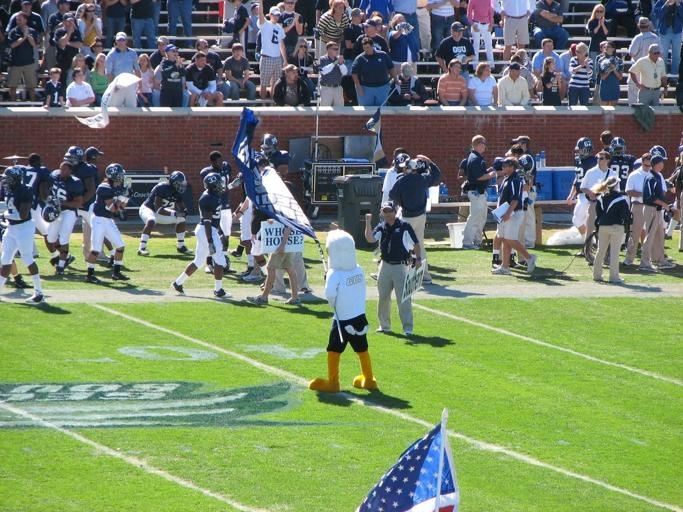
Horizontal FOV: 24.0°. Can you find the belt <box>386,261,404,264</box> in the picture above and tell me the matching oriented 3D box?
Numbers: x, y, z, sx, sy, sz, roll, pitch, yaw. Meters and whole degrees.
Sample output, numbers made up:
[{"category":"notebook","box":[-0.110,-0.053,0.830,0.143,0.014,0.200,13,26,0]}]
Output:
[{"category":"belt","box":[1.023,0.132,30.302,0.287,0.073,0.062,2,4,-8]}]

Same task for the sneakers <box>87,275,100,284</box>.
[{"category":"sneakers","box":[-5.075,0.497,33.326,0.364,0.156,0.127,3,6,7]}]

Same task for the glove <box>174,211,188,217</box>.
[{"category":"glove","box":[-3.515,-0.900,35.125,0.257,0.126,0.202,0,5,-31]}]

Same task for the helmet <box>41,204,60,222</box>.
[{"category":"helmet","box":[-6.033,-0.875,33.541,0.249,0.374,0.363,17,-2,1]}]

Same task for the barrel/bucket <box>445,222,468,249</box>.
[{"category":"barrel/bucket","box":[2.681,-0.469,37.513,0.403,0.610,0.609,2,4,5]}]

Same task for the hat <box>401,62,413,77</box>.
[{"category":"hat","box":[1.685,-4.676,40.589,0.311,0.375,0.360,0,12,-3]}]

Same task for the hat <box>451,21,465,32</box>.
[{"category":"hat","box":[2.909,-5.778,40.791,0.276,0.231,0.385,-7,13,-22]}]

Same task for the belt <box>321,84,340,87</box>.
[{"category":"belt","box":[-0.276,-4.298,40.708,0.456,0.087,0.193,2,4,-2]}]

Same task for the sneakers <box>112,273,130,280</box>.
[{"category":"sneakers","box":[-4.567,0.443,33.371,0.371,0.170,0.142,2,13,-10]}]

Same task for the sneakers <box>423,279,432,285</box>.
[{"category":"sneakers","box":[1.799,0.559,33.894,0.077,0.097,0.217,0,-5,-14]}]

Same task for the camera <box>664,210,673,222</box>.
[{"category":"camera","box":[7.872,-0.947,39.008,0.282,0.356,0.385,1,0,4]}]

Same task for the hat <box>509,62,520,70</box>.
[{"category":"hat","box":[4.398,-4.834,40.941,0.248,0.196,0.467,2,4,3]}]

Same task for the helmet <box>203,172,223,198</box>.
[{"category":"helmet","box":[-2.549,-1.443,32.225,0.414,0.436,0.318,-9,16,-31]}]

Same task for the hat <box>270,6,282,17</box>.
[{"category":"hat","box":[-1.674,-6.151,40.553,0.239,0.192,0.350,-1,7,-15]}]

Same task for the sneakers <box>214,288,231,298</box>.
[{"category":"sneakers","box":[-2.403,0.768,32.446,0.269,0.127,0.154,-1,6,24]}]

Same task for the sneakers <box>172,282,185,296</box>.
[{"category":"sneakers","box":[-3.284,0.687,32.557,0.151,0.363,0.125,-28,44,9]}]

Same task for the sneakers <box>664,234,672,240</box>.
[{"category":"sneakers","box":[7.813,-0.432,38.536,0.135,0.107,0.137,0,6,0]}]

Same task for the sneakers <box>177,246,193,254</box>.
[{"category":"sneakers","box":[-3.513,-0.130,36.148,0.378,0.173,0.141,2,12,-16]}]

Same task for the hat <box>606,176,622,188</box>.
[{"category":"hat","box":[5.662,-1.566,33.615,0.206,0.211,0.261,11,42,24]}]

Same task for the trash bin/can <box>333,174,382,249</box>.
[{"category":"trash bin/can","box":[0.469,-1.144,37.668,1.092,1.699,1.185,-8,17,-34]}]

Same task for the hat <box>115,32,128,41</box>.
[{"category":"hat","box":[-5.410,-5.387,39.657,0.250,0.155,0.421,-3,7,-4]}]

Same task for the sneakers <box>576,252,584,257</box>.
[{"category":"sneakers","box":[5.378,-0.022,36.432,0.118,0.056,0.086,5,6,44]}]

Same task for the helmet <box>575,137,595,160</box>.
[{"category":"helmet","box":[5.639,-2.476,37.016,0.544,0.568,0.408,-9,11,-16]}]

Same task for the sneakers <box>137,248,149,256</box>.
[{"category":"sneakers","box":[-4.423,-0.077,35.781,0.121,0.135,0.302,-2,-3,-30]}]

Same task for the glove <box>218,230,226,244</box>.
[{"category":"glove","box":[-2.546,-0.388,34.728,0.153,0.327,0.481,2,4,1]}]

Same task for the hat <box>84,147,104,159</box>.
[{"category":"hat","box":[-5.284,-2.172,34.294,0.308,0.224,0.523,1,5,-11]}]

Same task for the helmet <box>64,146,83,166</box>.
[{"category":"helmet","box":[-5.603,-2.095,34.034,0.519,0.511,0.410,1,5,-30]}]

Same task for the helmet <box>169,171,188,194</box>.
[{"category":"helmet","box":[-3.494,-1.556,34.302,0.333,0.425,0.578,2,4,-7]}]

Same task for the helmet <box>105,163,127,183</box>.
[{"category":"helmet","box":[-4.739,-1.769,33.928,0.430,0.425,0.348,-4,16,-25]}]

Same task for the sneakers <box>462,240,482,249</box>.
[{"category":"sneakers","box":[3.078,-0.275,37.462,0.503,0.245,0.240,0,5,-25]}]

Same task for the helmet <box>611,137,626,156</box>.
[{"category":"helmet","box":[6.255,-2.456,36.452,0.321,0.410,0.399,3,10,1]}]

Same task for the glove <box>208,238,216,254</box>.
[{"category":"glove","box":[-2.560,-0.149,31.987,0.167,0.251,0.066,-2,-3,-17]}]

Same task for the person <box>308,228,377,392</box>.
[{"category":"person","box":[0.067,1.001,28.054,1.030,2.821,0.530,2,4,-1]}]

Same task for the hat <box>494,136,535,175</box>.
[{"category":"hat","box":[3.910,-2.253,36.301,1.034,1.146,0.718,4,6,28]}]
